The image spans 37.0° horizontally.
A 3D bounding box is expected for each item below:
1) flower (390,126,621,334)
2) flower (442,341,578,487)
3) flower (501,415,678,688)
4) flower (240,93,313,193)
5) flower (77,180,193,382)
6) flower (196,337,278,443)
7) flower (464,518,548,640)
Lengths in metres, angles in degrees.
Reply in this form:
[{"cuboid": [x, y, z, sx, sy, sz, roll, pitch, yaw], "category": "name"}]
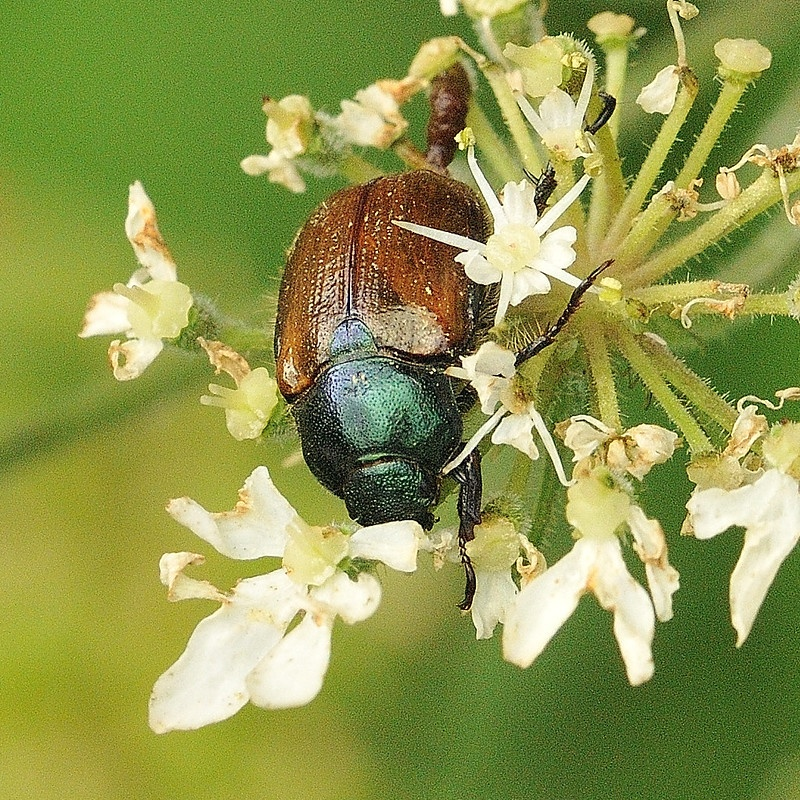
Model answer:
[{"cuboid": [0.265, -0.432, 2.769, 0.366, 0.415, 0.107, -5, -19, 4], "category": "flower"}, {"cuboid": [0.252, 0.112, 2.723, 0.268, 0.085, 0.212, -6, -30, 44], "category": "flower"}, {"cuboid": [0.420, 0.336, 2.588, 0.387, 0.605, 0.166, 0, -11, 41], "category": "flower"}, {"cuboid": [-0.332, -0.667, 3.277, 0.193, 0.253, 0.098, 37, 52, 11], "category": "flower"}, {"cuboid": [-0.703, -0.284, 3.264, 0.167, 0.504, 0.430, 9, -20, -26], "category": "flower"}, {"cuboid": [-0.464, -0.023, 3.090, 0.219, 0.205, 0.265, -14, 35, -34], "category": "flower"}, {"cuboid": [0.252, 0.415, 2.923, 0.222, 0.268, 0.069, -9, 2, 31], "category": "flower"}]
